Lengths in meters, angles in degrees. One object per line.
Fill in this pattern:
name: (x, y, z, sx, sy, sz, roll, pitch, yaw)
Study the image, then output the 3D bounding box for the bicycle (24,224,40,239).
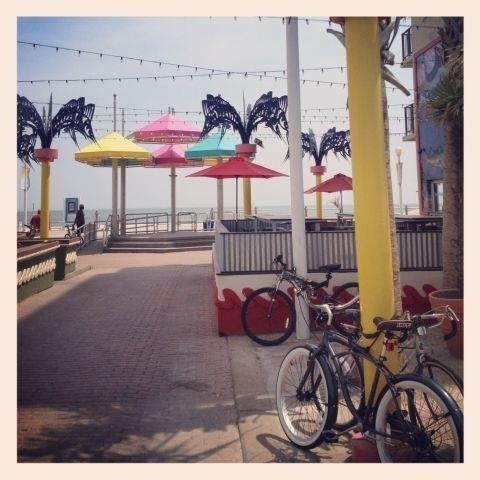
bicycle: (-9.687, -0.391, 24.715, 0.520, 0.779, 5.271, -2, 6, -21)

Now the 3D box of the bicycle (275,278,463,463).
bicycle: (1.123, 1.130, 4.426, 0.879, 1.242, 1.742, 4, -3, -32)

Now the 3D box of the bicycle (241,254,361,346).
bicycle: (1.005, 0.910, 7.856, 1.841, 1.429, 1.036, -3, -37, 7)

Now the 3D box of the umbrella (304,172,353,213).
umbrella: (3.079, -1.812, 17.544, 0.983, 0.886, 1.842, -1, 5, -11)

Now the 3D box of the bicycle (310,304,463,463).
bicycle: (1.191, 1.153, 4.232, 0.741, 1.111, 1.551, 8, -4, -33)
